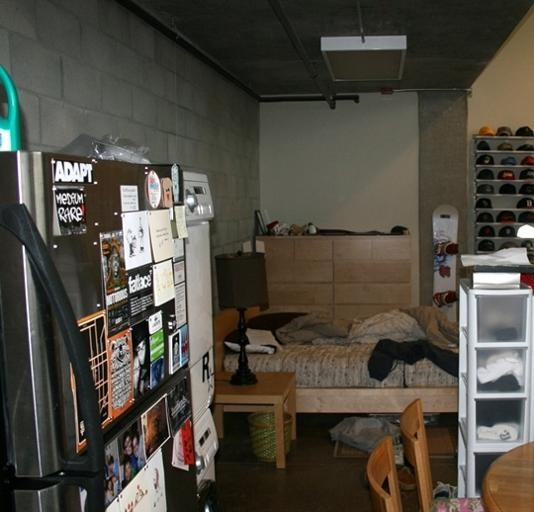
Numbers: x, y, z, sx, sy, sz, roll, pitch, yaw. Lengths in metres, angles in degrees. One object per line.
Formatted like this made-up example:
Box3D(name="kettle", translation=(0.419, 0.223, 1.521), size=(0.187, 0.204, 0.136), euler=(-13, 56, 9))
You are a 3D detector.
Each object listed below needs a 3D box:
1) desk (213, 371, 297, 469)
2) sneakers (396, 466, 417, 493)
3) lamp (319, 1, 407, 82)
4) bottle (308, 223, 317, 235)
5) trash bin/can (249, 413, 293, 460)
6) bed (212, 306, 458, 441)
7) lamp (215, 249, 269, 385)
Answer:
Box3D(name="desk", translation=(-0.092, 1.230, 3.614), size=(0.638, 0.599, 0.718), euler=(-1, 3, 2))
Box3D(name="sneakers", translation=(0.954, 1.515, 3.249), size=(0.162, 0.072, 0.248), euler=(-3, 1, 2))
Box3D(name="lamp", translation=(0.786, -1.638, 3.885), size=(0.468, 0.764, 0.514), euler=(0, -1, 4))
Box3D(name="bottle", translation=(0.604, -0.381, 6.258), size=(0.112, 0.225, 0.128), euler=(1, 1, 19))
Box3D(name="trash bin/can", translation=(0.019, 1.349, 3.596), size=(0.264, 0.258, 0.317), euler=(-4, -8, 1))
Box3D(name="bed", translation=(0.569, 0.723, 3.693), size=(1.555, 0.817, 1.003), euler=(0, -1, 6))
Box3D(name="lamp", translation=(-0.190, 0.448, 3.947), size=(0.383, 0.998, 1.017), euler=(-1, 3, 0))
